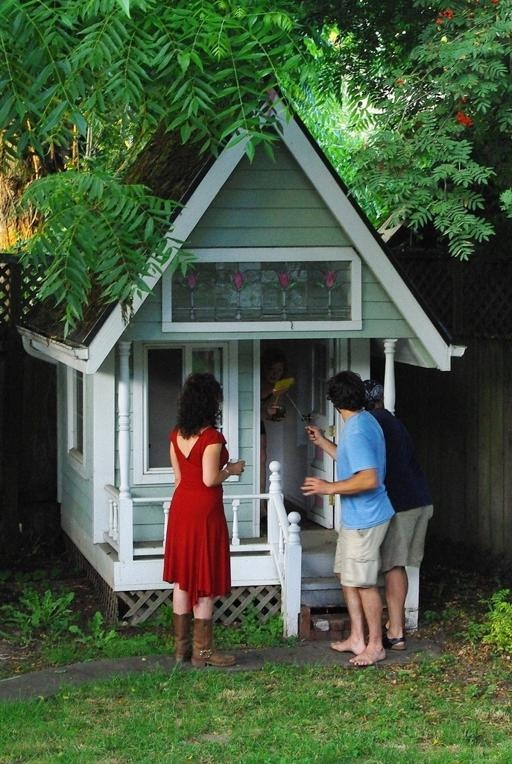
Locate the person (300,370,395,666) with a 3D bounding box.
[{"bbox_3d":[0.628,0.912,5.800,0.586,1.967,0.783,0,-2,8],"label":"person"}]

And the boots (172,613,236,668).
[{"bbox_3d":[-0.227,1.683,5.644,0.536,0.377,0.222,0,1,10],"label":"boots"}]

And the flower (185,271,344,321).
[{"bbox_3d":[0.093,-0.720,7.129,1.375,0.473,0.143,1,-2,-9],"label":"flower"}]

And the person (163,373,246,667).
[{"bbox_3d":[-0.352,0.883,5.467,0.484,1.894,0.565,0,-2,12],"label":"person"}]
